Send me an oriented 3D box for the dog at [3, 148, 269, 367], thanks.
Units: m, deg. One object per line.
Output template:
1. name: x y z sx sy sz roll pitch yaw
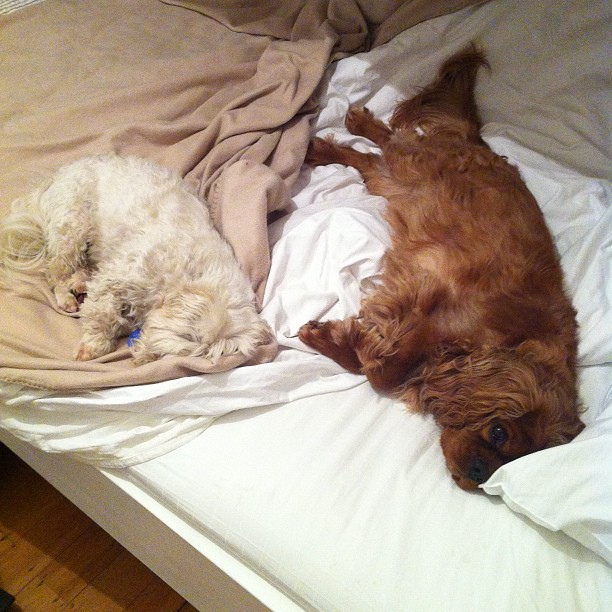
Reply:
1. dog: -0.607 -0.132 2.210 0.763 0.312 0.838 -8 72 -25

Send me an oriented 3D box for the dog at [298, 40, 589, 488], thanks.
1. dog: 0.503 -0.111 2.620 0.670 1.293 1.558 -11 56 49

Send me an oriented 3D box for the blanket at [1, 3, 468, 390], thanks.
1. blanket: -0.545 -0.732 2.484 2.286 0.223 1.747 -15 56 -12
